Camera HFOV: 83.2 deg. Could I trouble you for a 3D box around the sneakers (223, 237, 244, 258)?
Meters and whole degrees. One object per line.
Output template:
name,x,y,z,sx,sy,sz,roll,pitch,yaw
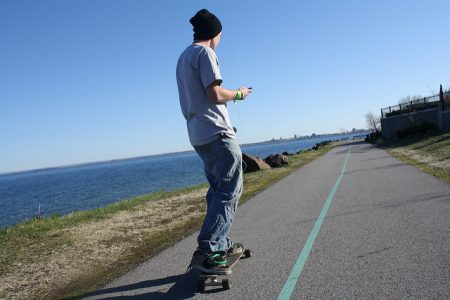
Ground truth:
sneakers,0.151,1.558,4.076,0.130,0.163,0.403,-1,1,28

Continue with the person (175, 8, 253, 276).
person,-0.211,-0.185,3.830,0.945,3.807,0.709,-6,1,3
